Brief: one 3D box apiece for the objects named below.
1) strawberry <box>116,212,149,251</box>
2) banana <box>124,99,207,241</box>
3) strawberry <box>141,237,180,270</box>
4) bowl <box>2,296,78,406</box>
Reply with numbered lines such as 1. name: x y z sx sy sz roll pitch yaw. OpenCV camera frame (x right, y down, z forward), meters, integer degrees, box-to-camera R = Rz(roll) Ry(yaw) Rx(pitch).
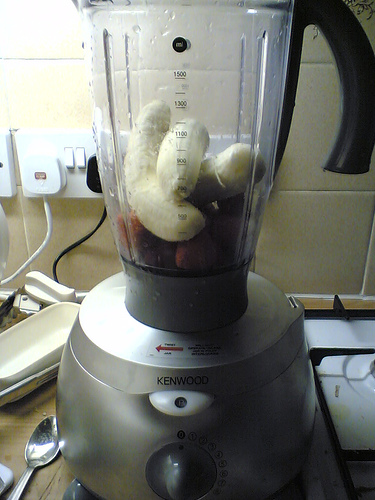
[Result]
1. strawberry: -0.033 -0.012 0.271 0.015 0.031 0.026 -2 24 8
2. banana: -0.026 -0.042 0.258 0.036 0.022 0.095 10 45 -36
3. strawberry: -0.015 0.000 0.253 0.013 0.020 0.019 2 2 -25
4. bowl: -0.151 0.098 0.427 0.045 0.031 0.122 2 26 12
